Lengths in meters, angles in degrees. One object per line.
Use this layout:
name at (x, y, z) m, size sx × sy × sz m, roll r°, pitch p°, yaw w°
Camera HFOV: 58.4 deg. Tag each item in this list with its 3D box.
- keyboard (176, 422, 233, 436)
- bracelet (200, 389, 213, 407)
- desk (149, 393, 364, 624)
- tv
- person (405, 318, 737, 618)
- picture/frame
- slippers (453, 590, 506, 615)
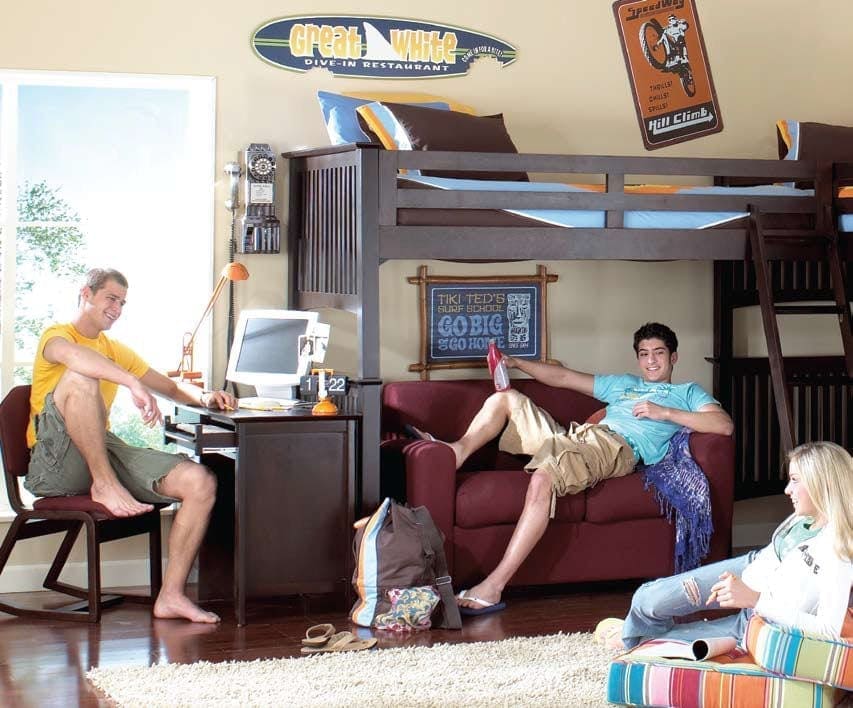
keyboard at (-0.927, 0.306, 3.187) m, size 0.188 × 0.041 × 0.280 m, roll 1°, pitch -3°, yaw -24°
bracelet at (-0.995, 0.201, 3.441) m, size 0.029 × 0.055 × 0.073 m, roll 0°, pitch 9°, yaw -35°
desk at (-0.785, 0.596, 3.577) m, size 0.812 × 0.989 × 1.390 m, roll 1°, pitch -1°, yaw -13°
tv at (-0.703, 0.028, 3.537) m, size 0.452 × 0.431 × 0.216 m, roll 3°, pitch -8°, yaw 19°
person at (0.794, 0.492, 3.935) m, size 1.548 × 1.141 × 1.165 m, roll 1°, pitch 4°, yaw -22°
picture/frame at (0.265, -0.181, 4.257) m, size 0.691 × 0.477 × 0.068 m, roll 0°, pitch -1°, yaw -16°
slippers at (0.230, 1.030, 3.197) m, size 0.213 × 0.087 × 0.105 m, roll 0°, pitch -2°, yaw -6°
